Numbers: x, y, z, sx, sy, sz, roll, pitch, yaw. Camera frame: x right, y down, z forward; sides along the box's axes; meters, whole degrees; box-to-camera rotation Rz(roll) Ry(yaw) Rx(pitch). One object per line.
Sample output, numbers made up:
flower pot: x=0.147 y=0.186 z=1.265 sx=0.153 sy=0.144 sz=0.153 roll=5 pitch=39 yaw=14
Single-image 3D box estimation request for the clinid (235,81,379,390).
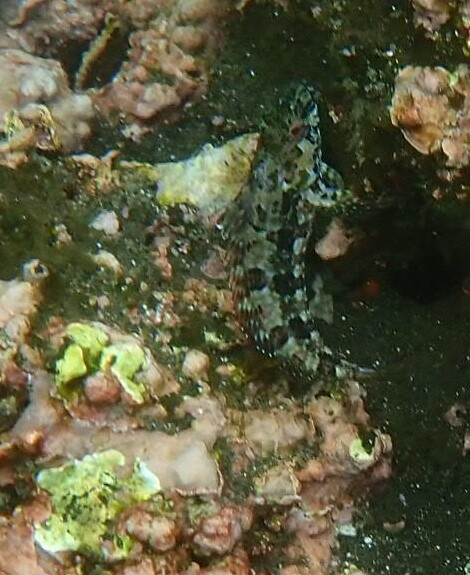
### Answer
clinid: x=0.194 y=-0.141 z=1.798 sx=0.397 sy=0.599 sz=0.131 roll=13 pitch=11 yaw=23
